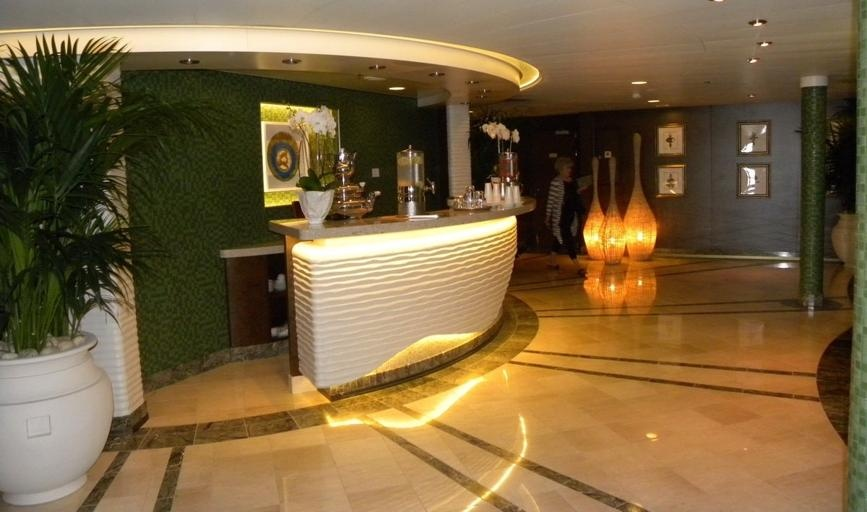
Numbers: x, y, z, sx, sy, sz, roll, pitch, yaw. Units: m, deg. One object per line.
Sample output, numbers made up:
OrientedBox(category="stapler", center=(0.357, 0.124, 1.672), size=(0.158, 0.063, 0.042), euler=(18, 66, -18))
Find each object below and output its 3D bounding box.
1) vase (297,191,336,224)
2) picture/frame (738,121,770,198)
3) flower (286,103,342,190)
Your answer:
OrientedBox(category="vase", center=(-1.275, -0.545, 6.065), size=(0.474, 0.328, 0.422), euler=(-3, -1, -7))
OrientedBox(category="picture/frame", center=(6.986, -2.126, 12.184), size=(0.068, 1.674, 0.708), euler=(-13, 13, -28))
OrientedBox(category="flower", center=(-1.494, -1.251, 6.479), size=(0.549, 0.759, 0.441), euler=(-9, -9, 3))
